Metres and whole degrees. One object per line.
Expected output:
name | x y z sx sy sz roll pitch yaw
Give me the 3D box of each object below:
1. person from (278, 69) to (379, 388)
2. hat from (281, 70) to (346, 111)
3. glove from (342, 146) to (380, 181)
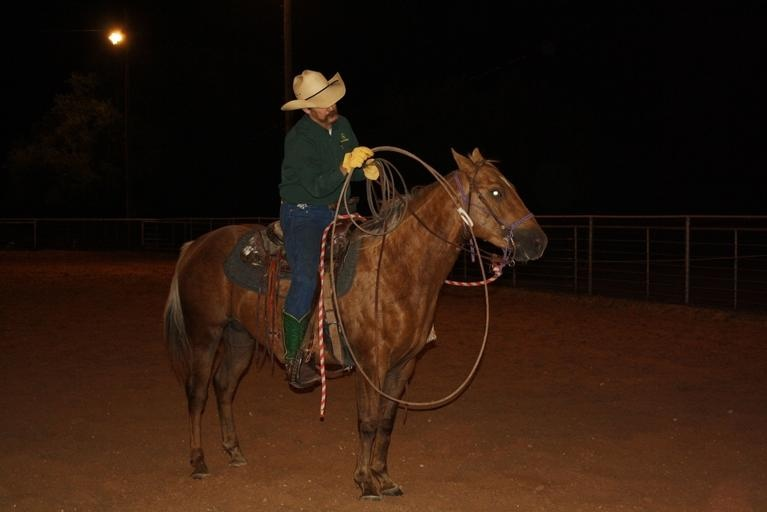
person | -0.592 -0.220 5.925 0.721 2.997 0.597 -1 6 -6
hat | -0.607 -1.564 5.886 0.508 0.405 0.536 -4 6 -32
glove | -0.194 -0.819 5.731 0.321 0.260 0.101 48 -12 -21
